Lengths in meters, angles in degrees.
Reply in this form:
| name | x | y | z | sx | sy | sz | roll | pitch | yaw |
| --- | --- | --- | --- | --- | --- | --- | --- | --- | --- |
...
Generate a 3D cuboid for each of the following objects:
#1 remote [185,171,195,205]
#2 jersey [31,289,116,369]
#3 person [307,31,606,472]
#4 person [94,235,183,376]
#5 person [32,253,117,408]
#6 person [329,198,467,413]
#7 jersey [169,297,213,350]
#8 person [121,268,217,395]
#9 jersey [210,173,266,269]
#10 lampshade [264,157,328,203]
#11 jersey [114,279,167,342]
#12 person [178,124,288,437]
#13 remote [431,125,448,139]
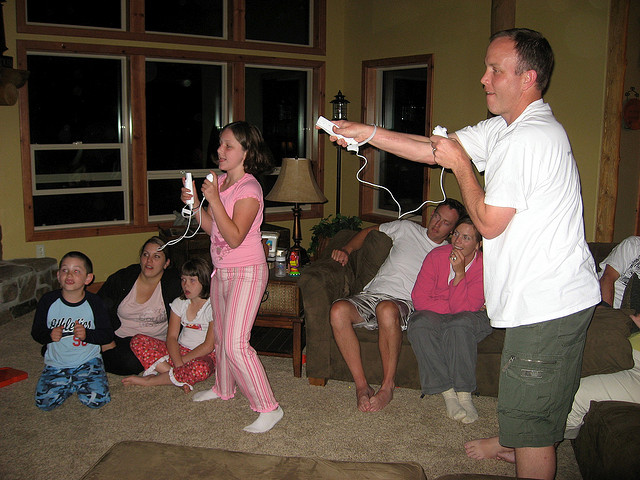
| name | x | y | z | sx | sy | sz | roll | pitch | yaw |
| --- | --- | --- | --- | --- | --- | --- | --- | --- | --- |
| remote | -0.753 | -0.297 | 2.944 | 0.044 | 0.207 | 0.045 | -4 | 19 | -12 |
| jersey | -1.681 | 0.613 | 3.467 | 0.486 | 0.526 | 0.289 | 4 | 9 | -12 |
| person | 0.933 | 0.121 | 2.761 | 1.130 | 2.202 | 1.514 | 9 | 15 | 35 |
| person | -1.242 | 0.512 | 3.749 | 0.774 | 0.953 | 0.660 | 15 | -6 | -43 |
| person | -1.623 | 0.585 | 3.338 | 0.487 | 0.916 | 0.540 | -6 | 14 | -28 |
| person | 0.509 | 0.367 | 3.635 | 0.988 | 1.418 | 1.132 | 15 | 12 | 29 |
| jersey | -0.908 | 0.611 | 3.683 | 0.350 | 0.397 | 0.210 | 6 | 2 | 20 |
| person | -0.953 | 0.602 | 3.495 | 0.551 | 0.844 | 0.722 | 10 | 7 | 30 |
| jersey | -0.474 | -0.106 | 2.889 | 0.276 | 0.547 | 0.482 | -2 | 5 | -34 |
| lampshade | -0.212 | -0.460 | 4.058 | 0.356 | 0.284 | 0.385 | 2 | 6 | 10 |
| jersey | -1.319 | 0.519 | 3.821 | 0.334 | 0.464 | 0.264 | 3 | -6 | -20 |
| person | -0.528 | 0.217 | 3.103 | 0.587 | 1.813 | 0.691 | -3 | 12 | -16 |
| remote | 0.520 | -0.470 | 2.202 | 0.083 | 0.039 | 0.089 | 19 | 19 | -5 |
